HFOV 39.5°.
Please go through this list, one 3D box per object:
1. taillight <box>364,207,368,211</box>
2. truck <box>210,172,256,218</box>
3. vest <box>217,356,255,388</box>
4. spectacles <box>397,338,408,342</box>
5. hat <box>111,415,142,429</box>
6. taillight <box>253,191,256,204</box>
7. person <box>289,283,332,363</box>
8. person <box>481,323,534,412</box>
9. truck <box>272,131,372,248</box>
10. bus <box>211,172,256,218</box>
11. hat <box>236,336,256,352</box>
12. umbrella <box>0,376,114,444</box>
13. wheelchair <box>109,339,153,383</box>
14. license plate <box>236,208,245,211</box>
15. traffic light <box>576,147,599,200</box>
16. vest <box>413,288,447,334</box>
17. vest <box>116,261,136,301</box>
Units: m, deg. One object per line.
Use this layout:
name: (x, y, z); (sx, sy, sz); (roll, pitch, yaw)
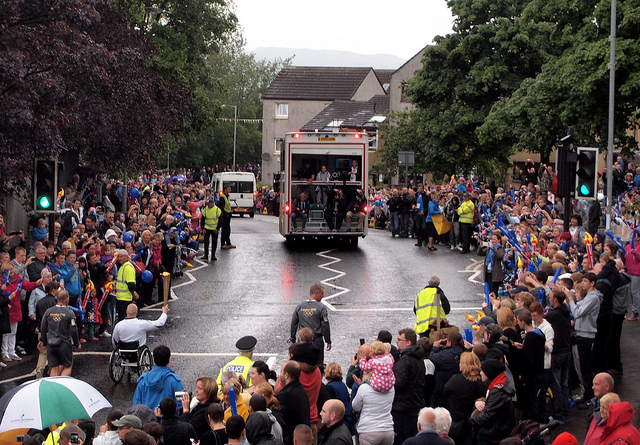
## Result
taillight: (1.680, -0.538, 32.953); (0.129, 0.141, 0.031); (-8, 1, 3)
truck: (-4.697, -1.781, 49.473); (1.593, 1.655, 2.934); (-1, 6, -11)
vest: (-1.699, 3.037, 17.914); (0.669, 0.515, 0.970); (1, 0, -6)
spectacles: (1.708, 2.464, 18.700); (0.070, 0.056, 0.304); (1, 0, -35)
hat: (-3.480, 3.612, 16.179); (0.383, 0.163, 0.258); (7, -7, 3)
taillight: (-3.583, -1.422, 48.680); (0.079, 0.536, 0.370); (0, 0, 11)
person: (-0.218, 2.718, 20.726); (0.925, 2.527, 0.579); (2, 9, 11)
person: (3.854, 2.970, 18.735); (1.119, 1.617, 0.798); (-12, 2, -29)
truck: (-0.038, -1.366, 35.128); (2.744, 3.158, 4.968); (0, 4, -4)
bus: (-4.988, -1.663, 50.211); (2.078, 2.472, 4.286); (-1, 5, -18)
hat: (-1.510, 2.490, 18.243); (0.368, 0.251, 0.273); (1, 0, -6)
umbrella: (-5.091, 3.444, 17.109); (1.253, 0.879, 1.317); (-3, 3, 0)
wheelchair: (-4.424, 3.094, 21.109); (0.748, 1.347, 1.065); (4, 14, 11)
license plate: (-4.330, -0.737, 48.590); (0.435, 0.112, 0.197); (1, 0, 2)
traffic light: (6.109, -1.146, 20.453); (0.430, 1.188, 0.290); (0, 0, 14)
vest: (2.498, 2.078, 21.528); (0.808, 1.049, 0.672); (3, 2, 8)
vest: (-5.120, 1.537, 23.515); (0.474, 0.930, 0.405); (1, 0, -11)
